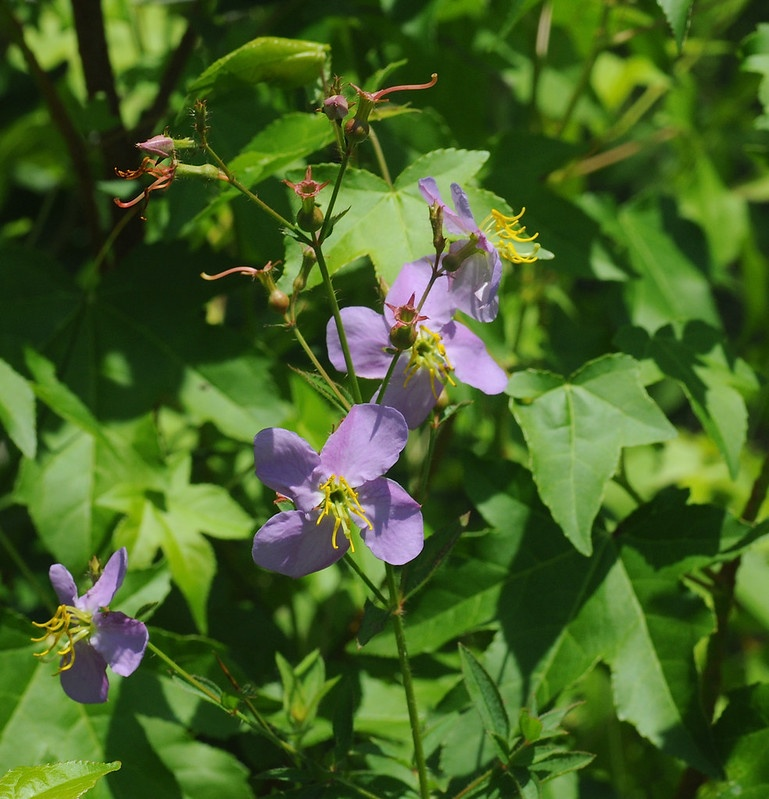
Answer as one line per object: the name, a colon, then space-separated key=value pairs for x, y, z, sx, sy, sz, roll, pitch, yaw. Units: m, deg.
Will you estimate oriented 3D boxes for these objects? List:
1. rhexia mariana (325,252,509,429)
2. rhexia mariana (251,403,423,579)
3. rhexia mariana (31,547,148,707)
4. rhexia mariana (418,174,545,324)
rhexia mariana: x=0.039 y=-0.065 z=1.334 sx=0.217 sy=0.067 sz=0.219 roll=-23 pitch=86 yaw=-19
rhexia mariana: x=-0.054 y=0.106 z=1.222 sx=0.191 sy=0.137 sz=0.151 roll=0 pitch=54 yaw=-8
rhexia mariana: x=-0.357 y=0.270 z=1.308 sx=0.126 sy=0.218 sz=0.200 roll=-6 pitch=74 yaw=-32
rhexia mariana: x=0.116 y=-0.186 z=1.291 sx=0.175 sy=0.092 sz=0.155 roll=-5 pitch=44 yaw=-45
